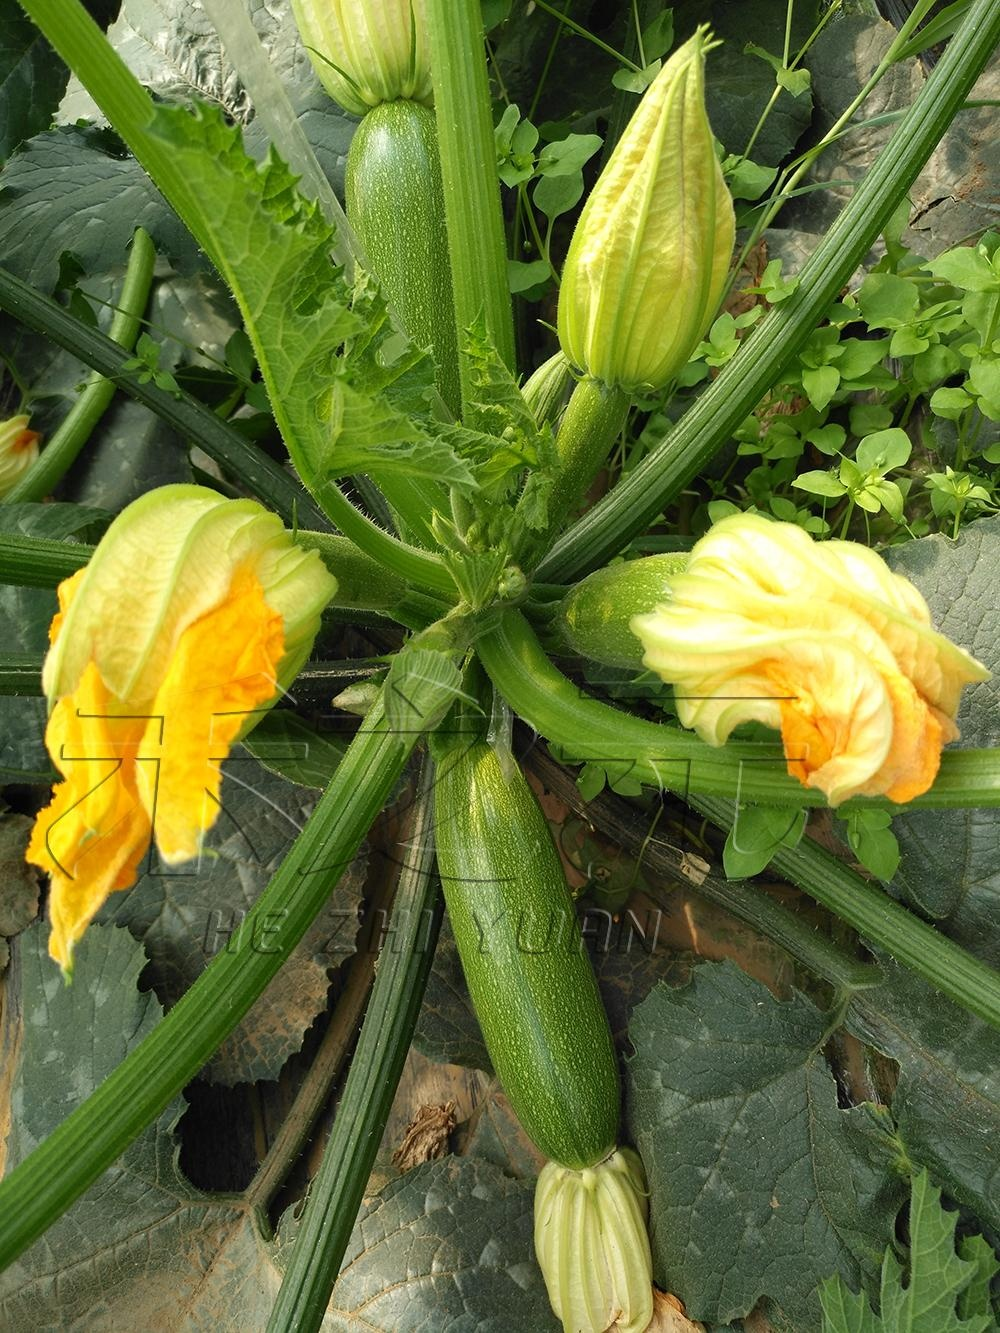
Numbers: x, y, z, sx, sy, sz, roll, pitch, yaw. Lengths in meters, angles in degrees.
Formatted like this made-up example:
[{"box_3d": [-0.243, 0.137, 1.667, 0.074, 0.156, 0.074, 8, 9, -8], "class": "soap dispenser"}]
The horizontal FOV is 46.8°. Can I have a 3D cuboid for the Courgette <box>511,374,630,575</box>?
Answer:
[{"box_3d": [0.040, -0.180, 1.217, 0.074, 0.296, 0.067, -29, 69, -29], "class": "Courgette"}]

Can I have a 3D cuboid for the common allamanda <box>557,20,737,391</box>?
[{"box_3d": [0.139, -0.382, 1.006, 0.110, 0.243, 0.186, 32, 75, 22], "class": "common allamanda"}]

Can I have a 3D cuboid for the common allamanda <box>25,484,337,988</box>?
[{"box_3d": [-0.219, 0.038, 0.849, 0.260, 0.155, 0.319, -8, 52, 11], "class": "common allamanda"}]

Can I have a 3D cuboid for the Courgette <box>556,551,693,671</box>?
[{"box_3d": [0.109, -0.051, 1.043, 0.072, 0.131, 0.065, -43, 102, -17], "class": "Courgette"}]

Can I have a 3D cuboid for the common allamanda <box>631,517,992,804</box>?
[{"box_3d": [0.229, -0.001, 0.843, 0.175, 0.107, 0.207, -16, 36, -11], "class": "common allamanda"}]
